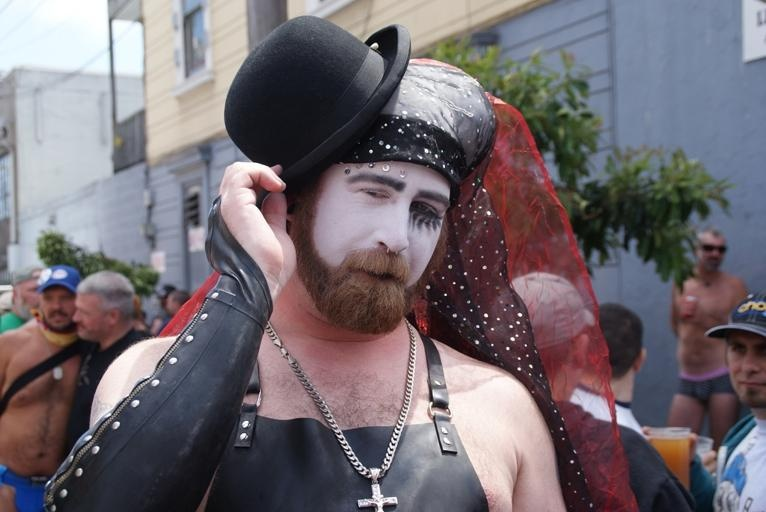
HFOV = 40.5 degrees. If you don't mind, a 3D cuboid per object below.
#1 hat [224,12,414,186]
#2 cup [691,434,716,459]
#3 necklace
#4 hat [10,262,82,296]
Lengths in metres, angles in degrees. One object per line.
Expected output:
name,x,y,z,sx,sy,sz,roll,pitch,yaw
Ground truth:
hat,-0.323,-0.650,4.238,0.320,0.588,0.768,25,-60,-41
cup,1.664,0.986,5.387,0.132,0.132,0.158,1,-14,3
necklace,-0.143,0.624,4.156,0.416,0.905,0.090,-4,-22,-20
hat,-1.797,0.112,5.545,0.178,0.153,0.316,5,-5,-7
